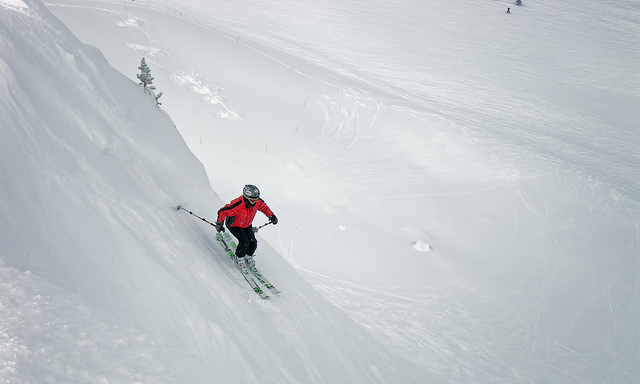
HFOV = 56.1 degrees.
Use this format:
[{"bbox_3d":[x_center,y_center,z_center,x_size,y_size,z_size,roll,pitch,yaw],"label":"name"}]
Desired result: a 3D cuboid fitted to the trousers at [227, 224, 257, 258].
[{"bbox_3d":[-3.690,2.287,28.192,1.052,1.591,1.063,-3,26,13],"label":"trousers"}]
